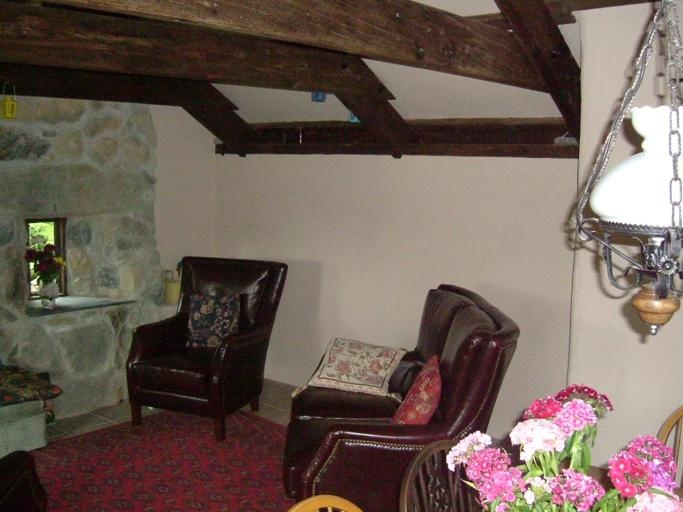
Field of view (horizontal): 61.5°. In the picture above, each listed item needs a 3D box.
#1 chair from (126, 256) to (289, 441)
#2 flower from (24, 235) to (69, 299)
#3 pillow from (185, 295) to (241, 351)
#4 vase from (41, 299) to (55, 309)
[{"bbox_3d":[-1.016,0.670,4.737,1.104,1.527,1.319,3,5,21],"label":"chair"},{"bbox_3d":[-2.382,0.135,4.661,0.276,0.474,0.388,-4,10,-25],"label":"flower"},{"bbox_3d":[-1.024,0.536,4.608,0.419,0.422,0.131,0,-9,28],"label":"pillow"},{"bbox_3d":[-2.314,0.377,4.539,0.080,0.086,0.079,4,-2,-44],"label":"vase"}]
